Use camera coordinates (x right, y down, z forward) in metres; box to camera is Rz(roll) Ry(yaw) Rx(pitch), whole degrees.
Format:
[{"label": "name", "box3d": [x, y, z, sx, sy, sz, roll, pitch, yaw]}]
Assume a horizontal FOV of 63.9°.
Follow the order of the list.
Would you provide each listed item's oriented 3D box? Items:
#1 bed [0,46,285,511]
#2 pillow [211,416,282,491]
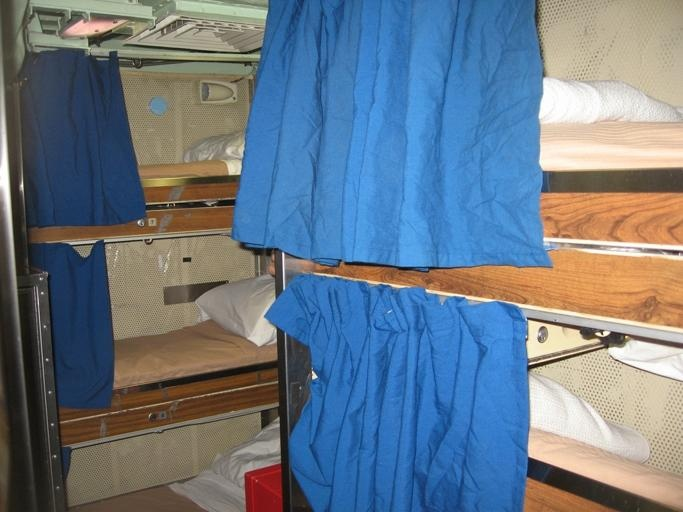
[{"label": "bed", "box3d": [-1.404, -0.421, 4.002, 1.729, 2.703, 1.151, -8, 9, -44]}, {"label": "pillow", "box3d": [-0.565, 1.173, 3.213, 0.408, 0.286, 0.403, -3, 15, -7]}]
